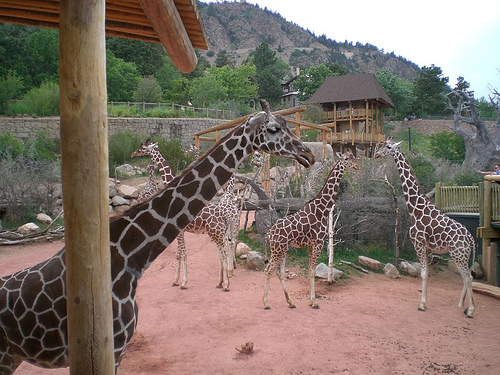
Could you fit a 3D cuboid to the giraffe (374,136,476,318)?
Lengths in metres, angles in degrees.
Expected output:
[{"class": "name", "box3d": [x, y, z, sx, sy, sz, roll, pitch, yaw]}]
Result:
[{"class": "giraffe", "box3d": [4.410, 0.769, 10.758, 2.074, 3.844, 3.063, 6, 7, 29]}]

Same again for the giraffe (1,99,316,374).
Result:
[{"class": "giraffe", "box3d": [-1.350, 0.537, 5.875, 3.440, 3.594, 1.009, -1, 7, -29]}]
